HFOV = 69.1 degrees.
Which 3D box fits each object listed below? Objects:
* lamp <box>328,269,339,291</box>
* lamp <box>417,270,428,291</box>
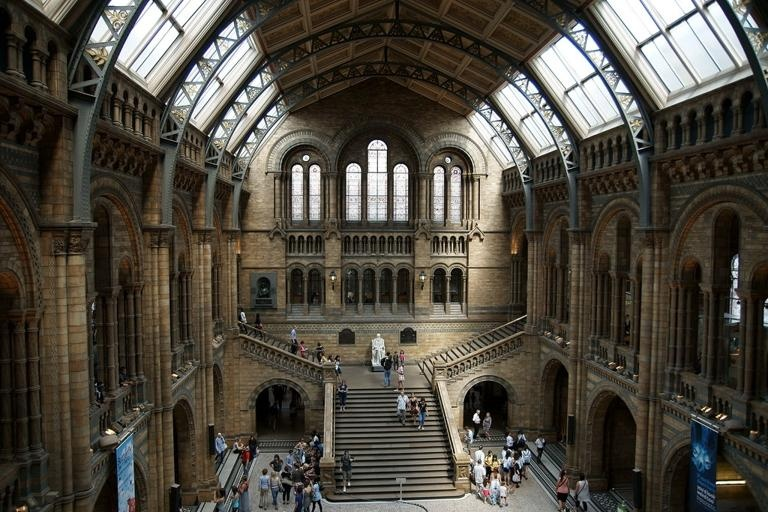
[{"bbox_3d":[-3.497,1.711,37.914,0.455,1.372,0.451,-6,-10,44],"label":"lamp"},{"bbox_3d":[2.586,1.738,38.439,0.721,1.284,0.331,1,-7,2],"label":"lamp"}]
